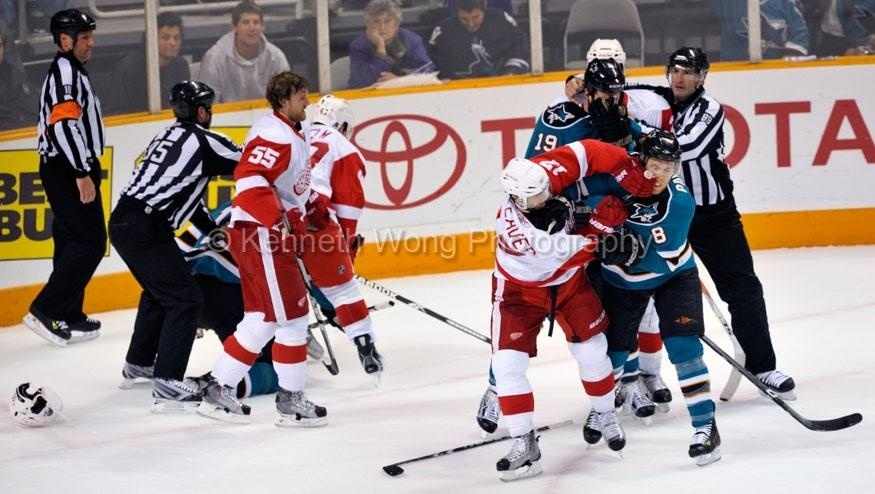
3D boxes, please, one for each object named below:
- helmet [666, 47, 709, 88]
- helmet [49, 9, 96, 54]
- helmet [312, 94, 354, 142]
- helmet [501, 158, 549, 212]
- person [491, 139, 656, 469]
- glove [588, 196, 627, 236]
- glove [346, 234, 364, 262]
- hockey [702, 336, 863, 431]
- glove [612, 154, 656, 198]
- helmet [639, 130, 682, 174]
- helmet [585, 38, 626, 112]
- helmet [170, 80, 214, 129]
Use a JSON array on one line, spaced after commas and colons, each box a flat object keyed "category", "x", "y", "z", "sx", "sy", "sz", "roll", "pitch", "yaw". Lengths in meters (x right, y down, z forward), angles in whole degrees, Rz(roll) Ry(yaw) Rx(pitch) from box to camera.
[{"category": "helmet", "x": 1.836, "y": -1.335, "z": 6.593, "sx": 0.242, "sy": 0.234, "sz": 0.284, "roll": 11, "pitch": 12, "yaw": 41}, {"category": "helmet", "x": -2.937, "y": -1.769, "z": 7.403, "sx": 0.388, "sy": 0.313, "sz": 0.322, "roll": -2, "pitch": 25, "yaw": -6}, {"category": "helmet", "x": -0.797, "y": -1.021, "z": 6.964, "sx": 0.294, "sy": 0.303, "sz": 0.347, "roll": 7, "pitch": 5, "yaw": 12}, {"category": "helmet", "x": 0.587, "y": -0.419, "z": 5.868, "sx": 0.359, "sy": 0.317, "sz": 0.260, "roll": 12, "pitch": 64, "yaw": 22}, {"category": "person", "x": 0.807, "y": 0.361, "z": 5.958, "sx": 1.239, "sy": 2.034, "sz": 0.662, "roll": -9, "pitch": 14, "yaw": -12}, {"category": "glove", "x": 1.143, "y": -0.209, "z": 5.894, "sx": 0.327, "sy": 0.218, "sz": 0.164, "roll": -14, "pitch": 16, "yaw": -35}, {"category": "glove", "x": -0.675, "y": 0.008, "z": 7.077, "sx": 0.096, "sy": 0.237, "sz": 0.102, "roll": 25, "pitch": 27, "yaw": 8}, {"category": "hockey", "x": 2.470, "y": 1.001, "z": 6.454, "sx": 0.206, "sy": 0.153, "sz": 1.327, "roll": 1, "pitch": 22, "yaw": -40}, {"category": "glove", "x": 1.307, "y": -0.454, "z": 5.923, "sx": 0.311, "sy": 0.251, "sz": 0.214, "roll": -5, "pitch": 10, "yaw": 18}, {"category": "helmet", "x": 1.432, "y": -0.645, "z": 5.978, "sx": 0.241, "sy": 0.245, "sz": 0.274, "roll": 1, "pitch": 15, "yaw": -17}, {"category": "helmet", "x": 1.213, "y": -1.310, "z": 6.569, "sx": 0.413, "sy": 0.470, "sz": 0.500, "roll": -3, "pitch": 25, "yaw": 2}, {"category": "helmet", "x": -1.781, "y": -1.068, "z": 6.704, "sx": 0.325, "sy": 0.343, "sz": 0.353, "roll": 17, "pitch": 28, "yaw": 31}]
